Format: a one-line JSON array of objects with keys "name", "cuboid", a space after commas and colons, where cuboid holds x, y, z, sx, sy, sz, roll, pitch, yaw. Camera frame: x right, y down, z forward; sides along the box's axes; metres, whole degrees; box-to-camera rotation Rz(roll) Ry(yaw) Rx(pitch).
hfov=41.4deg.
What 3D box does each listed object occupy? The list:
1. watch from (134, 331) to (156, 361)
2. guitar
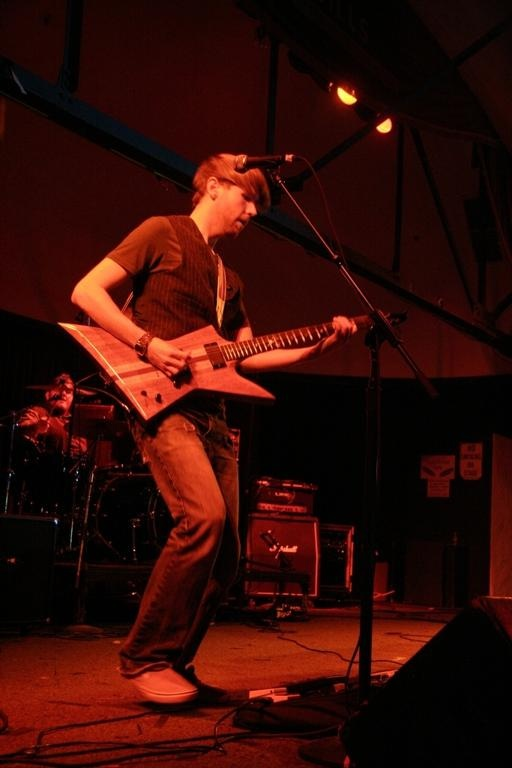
[{"name": "watch", "cuboid": [-0.326, -0.114, 2.020, 0.050, 0.084, 0.074, 15, 30, -14]}, {"name": "guitar", "cuboid": [-0.190, -0.051, 2.112, 0.828, 0.405, 0.206, 10, -12, -24]}]
